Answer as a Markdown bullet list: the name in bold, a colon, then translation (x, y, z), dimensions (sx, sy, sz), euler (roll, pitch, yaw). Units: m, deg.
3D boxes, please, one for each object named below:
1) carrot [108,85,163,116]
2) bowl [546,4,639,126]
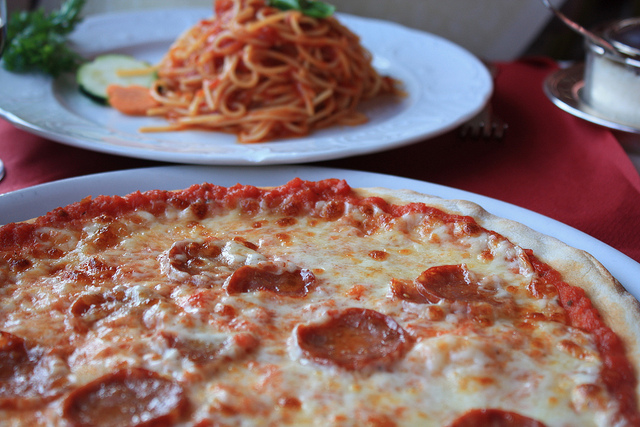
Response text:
- **carrot**: translation (-0.800, -0.485, 2.512), dimensions (0.181, 0.021, 0.152), euler (25, 38, 16)
- **bowl**: translation (1.166, -0.576, 2.376), dimensions (0.295, 0.258, 0.388), euler (-18, 35, -30)
